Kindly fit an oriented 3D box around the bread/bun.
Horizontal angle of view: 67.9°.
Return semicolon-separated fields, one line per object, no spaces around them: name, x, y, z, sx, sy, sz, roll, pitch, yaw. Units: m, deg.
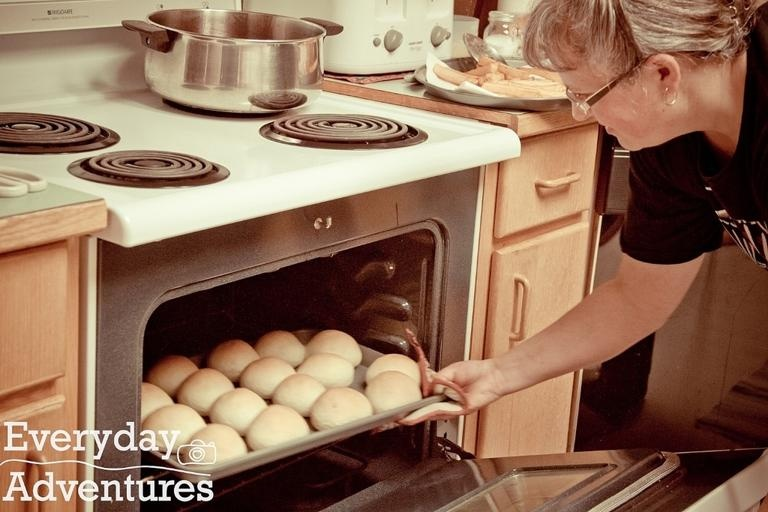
bread/bun;-0.212;0.206;1.099;0.453;0.154;0.466;-15;20;-38

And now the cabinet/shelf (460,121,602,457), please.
cabinet/shelf;0.336;0.076;1.358;0.483;0.816;0.304;4;-5;8

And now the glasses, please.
glasses;0.300;-0.233;0.781;0.065;0.017;0.058;-29;13;7
